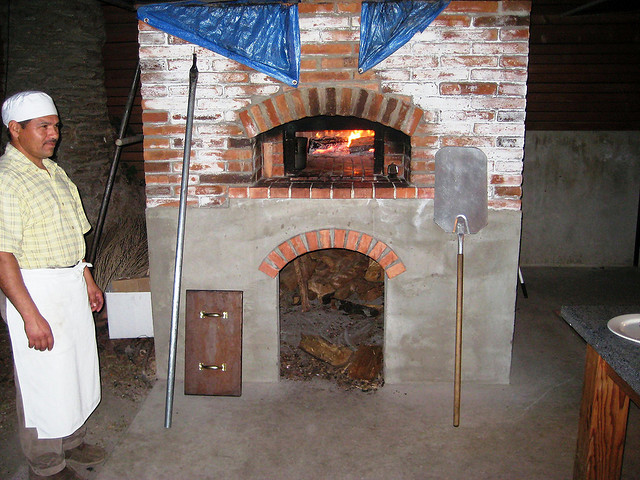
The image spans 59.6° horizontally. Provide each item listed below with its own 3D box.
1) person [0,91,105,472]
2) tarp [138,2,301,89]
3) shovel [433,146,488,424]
[{"bbox_3d":[-2.060,0.393,4.317,0.703,2.989,0.497,-3,7,-36],"label":"person"},{"bbox_3d":[-0.822,-1.717,4.888,1.275,0.705,0.091,1,6,-1],"label":"tarp"},{"bbox_3d":[1.191,0.373,4.997,0.458,2.397,0.561,4,7,24],"label":"shovel"}]
